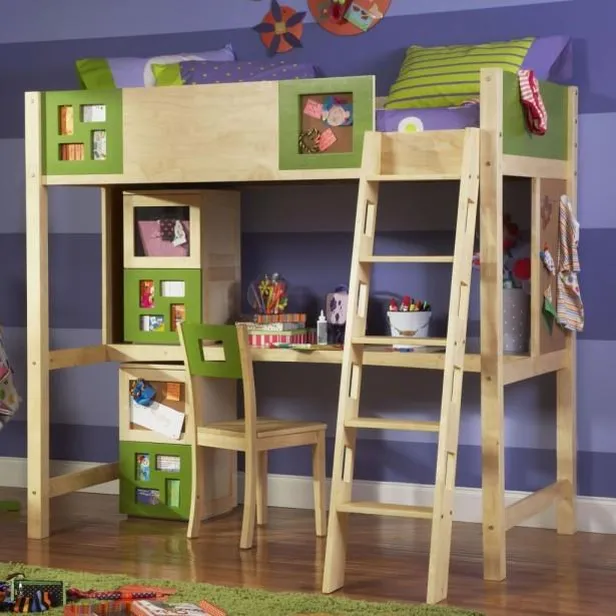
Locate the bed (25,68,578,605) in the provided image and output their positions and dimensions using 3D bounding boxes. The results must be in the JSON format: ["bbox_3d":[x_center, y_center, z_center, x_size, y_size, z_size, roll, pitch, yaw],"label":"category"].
[{"bbox_3d":[0.024,-0.167,3.279,2.093,2.377,1.692,0,0,25],"label":"bed"}]

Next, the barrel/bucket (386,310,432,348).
[{"bbox_3d":[0.415,0.073,3.048,0.144,0.130,0.145,0,3,0],"label":"barrel/bucket"}]

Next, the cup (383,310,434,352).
[{"bbox_3d":[0.404,0.092,3.009,0.147,0.133,0.150,0,2,0],"label":"cup"}]
